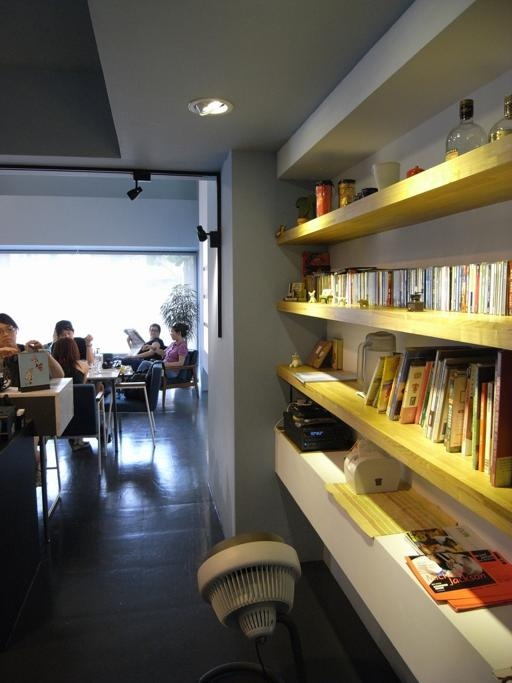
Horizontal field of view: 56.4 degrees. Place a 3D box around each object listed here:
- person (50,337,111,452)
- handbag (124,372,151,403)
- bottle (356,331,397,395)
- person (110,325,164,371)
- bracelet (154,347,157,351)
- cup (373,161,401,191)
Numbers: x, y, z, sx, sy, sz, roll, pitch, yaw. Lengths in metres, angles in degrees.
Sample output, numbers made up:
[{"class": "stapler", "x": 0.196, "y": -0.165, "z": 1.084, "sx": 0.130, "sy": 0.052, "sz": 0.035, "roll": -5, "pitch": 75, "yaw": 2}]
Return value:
[{"class": "person", "x": -1.722, "y": 0.419, "z": 4.586, "sx": 0.339, "sy": 1.143, "sz": 0.353, "roll": -16, "pitch": -15, "yaw": -23}, {"class": "handbag", "x": -1.390, "y": 0.549, "z": 5.764, "sx": 0.350, "sy": 0.442, "sz": 0.293, "roll": -1, "pitch": -2, "yaw": 3}, {"class": "bottle", "x": 0.513, "y": 0.094, "z": 2.077, "sx": 0.161, "sy": 0.289, "sz": 0.136, "roll": -14, "pitch": 24, "yaw": -28}, {"class": "person", "x": -1.854, "y": 0.080, "z": 7.553, "sx": 0.978, "sy": 0.722, "sz": 0.513, "roll": -5, "pitch": 13, "yaw": -44}, {"class": "bracelet", "x": -1.569, "y": 0.106, "z": 7.470, "sx": 0.030, "sy": 0.011, "sz": 0.047, "roll": 7, "pitch": 43, "yaw": -26}, {"class": "cup", "x": 0.430, "y": -0.523, "z": 1.572, "sx": 0.084, "sy": 0.087, "sz": 0.101, "roll": -1, "pitch": 1, "yaw": -2}]
